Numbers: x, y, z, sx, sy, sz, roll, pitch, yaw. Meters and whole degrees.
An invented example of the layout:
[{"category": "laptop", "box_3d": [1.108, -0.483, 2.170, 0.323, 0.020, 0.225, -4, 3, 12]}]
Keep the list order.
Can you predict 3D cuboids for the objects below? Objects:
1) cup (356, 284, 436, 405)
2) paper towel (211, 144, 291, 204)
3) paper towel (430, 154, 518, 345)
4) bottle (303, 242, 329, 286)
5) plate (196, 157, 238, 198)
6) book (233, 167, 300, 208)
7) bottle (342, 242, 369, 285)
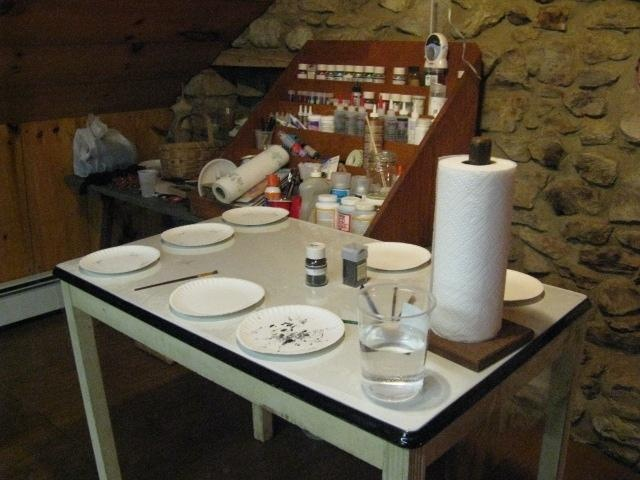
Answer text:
[{"category": "cup", "box_3d": [0.172, 0.214, 1.317, 0.251, 0.302, 0.262, 1, 10, 0]}, {"category": "paper towel", "box_3d": [-0.310, -0.309, 2.531, 0.497, 0.149, 0.152, -36, 12, -36]}, {"category": "paper towel", "box_3d": [0.366, 0.020, 1.293, 0.192, 0.440, 0.176, 7, 17, 18]}, {"category": "bottle", "box_3d": [-0.011, 0.077, 1.583, 0.086, 0.118, 0.081, 0, 28, 0]}, {"category": "plate", "box_3d": [-0.464, -0.290, 2.573, 0.051, 0.187, 0.196, 27, -17, -31]}, {"category": "book", "box_3d": [-0.243, -0.252, 2.484, 0.228, 0.057, 0.219, -32, 32, -18]}, {"category": "bottle", "box_3d": [0.104, 0.075, 1.567, 0.080, 0.135, 0.080, -2, 28, 1]}]
